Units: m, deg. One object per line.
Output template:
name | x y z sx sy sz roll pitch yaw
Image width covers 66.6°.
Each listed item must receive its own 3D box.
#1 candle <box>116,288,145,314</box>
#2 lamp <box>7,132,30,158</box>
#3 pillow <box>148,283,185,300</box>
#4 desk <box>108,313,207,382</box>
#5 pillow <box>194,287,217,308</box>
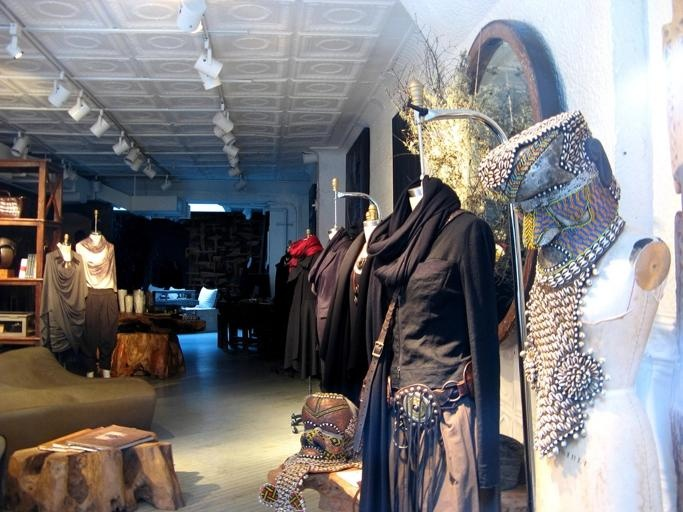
candle | -2.946 0.653 7.322 0.360 0.272 0.292 0 -5 -9
lamp | -4.417 -1.533 7.101 0.237 0.303 0.290 5 -14 -11
pillow | -4.058 0.809 12.083 0.812 0.349 1.223 1 -1 -21
desk | -2.568 1.187 7.116 0.736 0.578 1.097 0 -3 -6
pillow | -3.126 0.958 11.966 0.383 0.341 0.179 1 10 34
